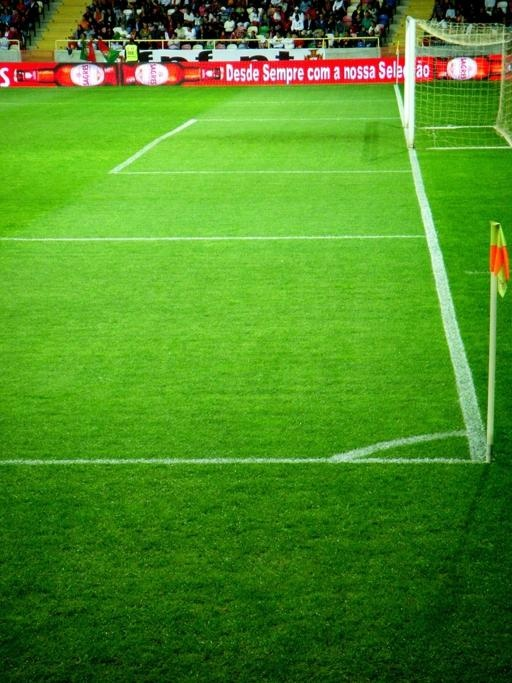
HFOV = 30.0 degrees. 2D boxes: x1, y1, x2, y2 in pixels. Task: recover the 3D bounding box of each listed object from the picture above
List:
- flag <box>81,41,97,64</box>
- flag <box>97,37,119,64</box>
[{"bbox_3d":[-5.451,-9.404,30.850,0.481,0.615,0.508,-5,18,-8],"label":"flag"},{"bbox_3d":[-4.814,-9.423,30.911,0.753,0.671,2.520,-5,19,-7],"label":"flag"}]
